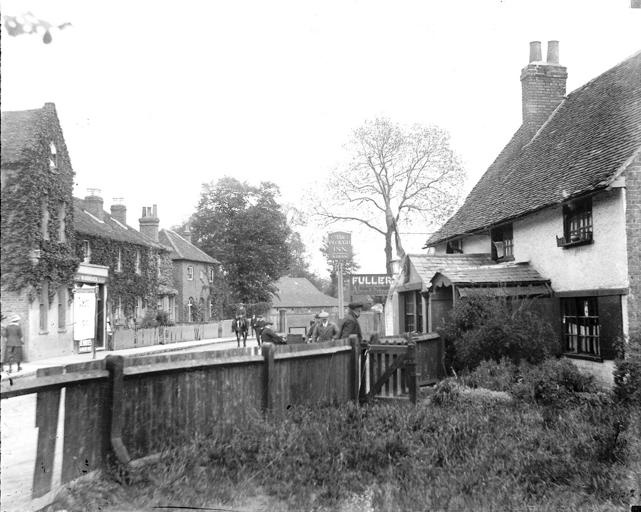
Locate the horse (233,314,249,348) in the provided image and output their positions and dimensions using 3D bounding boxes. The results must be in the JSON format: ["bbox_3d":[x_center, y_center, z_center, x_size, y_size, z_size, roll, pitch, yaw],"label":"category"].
[{"bbox_3d":[-4.139,3.779,34.001,0.492,1.227,1.972,2,15,-3],"label":"horse"}]

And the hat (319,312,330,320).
[{"bbox_3d":[0.082,1.404,15.957,0.190,0.150,0.206,-1,-1,-19],"label":"hat"}]
